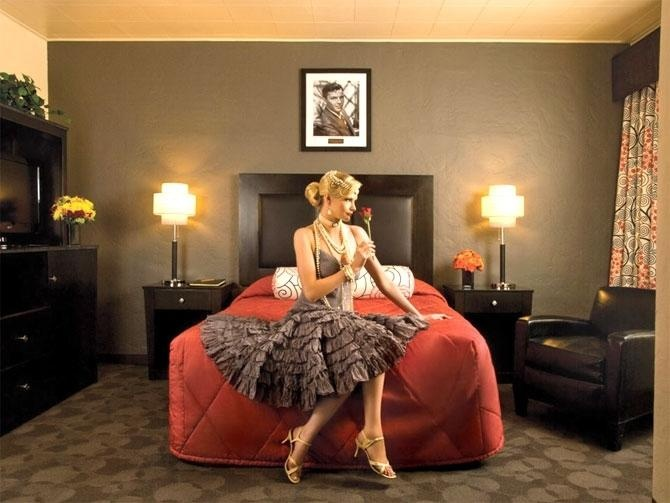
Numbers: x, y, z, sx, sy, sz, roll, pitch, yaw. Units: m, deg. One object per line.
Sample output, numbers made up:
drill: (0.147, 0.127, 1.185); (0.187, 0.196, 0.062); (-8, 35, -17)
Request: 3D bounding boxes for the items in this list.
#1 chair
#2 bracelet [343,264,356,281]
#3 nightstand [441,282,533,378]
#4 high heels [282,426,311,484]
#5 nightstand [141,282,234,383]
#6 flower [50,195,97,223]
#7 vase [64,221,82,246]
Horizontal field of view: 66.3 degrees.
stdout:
chair: (1.997, 0.803, 4.208); (1.149, 1.165, 1.082); (2, -3, -36)
bracelet: (0.085, 0.132, 3.274); (0.037, 0.091, 0.088); (-13, -1, 3)
nightstand: (1.504, 0.806, 5.201); (0.933, 1.277, 0.857); (-1, 1, 4)
high heels: (-0.252, 1.278, 3.246); (0.145, 0.316, 0.173); (-3, 12, -15)
nightstand: (-1.500, 0.735, 5.060); (0.755, 0.909, 0.678); (1, 5, -22)
flower: (-2.354, -0.367, 4.586); (0.301, 0.206, 0.296); (1, -1, -3)
vase: (-2.400, -0.168, 4.681); (0.111, 0.231, 0.531); (-6, 13, -28)
